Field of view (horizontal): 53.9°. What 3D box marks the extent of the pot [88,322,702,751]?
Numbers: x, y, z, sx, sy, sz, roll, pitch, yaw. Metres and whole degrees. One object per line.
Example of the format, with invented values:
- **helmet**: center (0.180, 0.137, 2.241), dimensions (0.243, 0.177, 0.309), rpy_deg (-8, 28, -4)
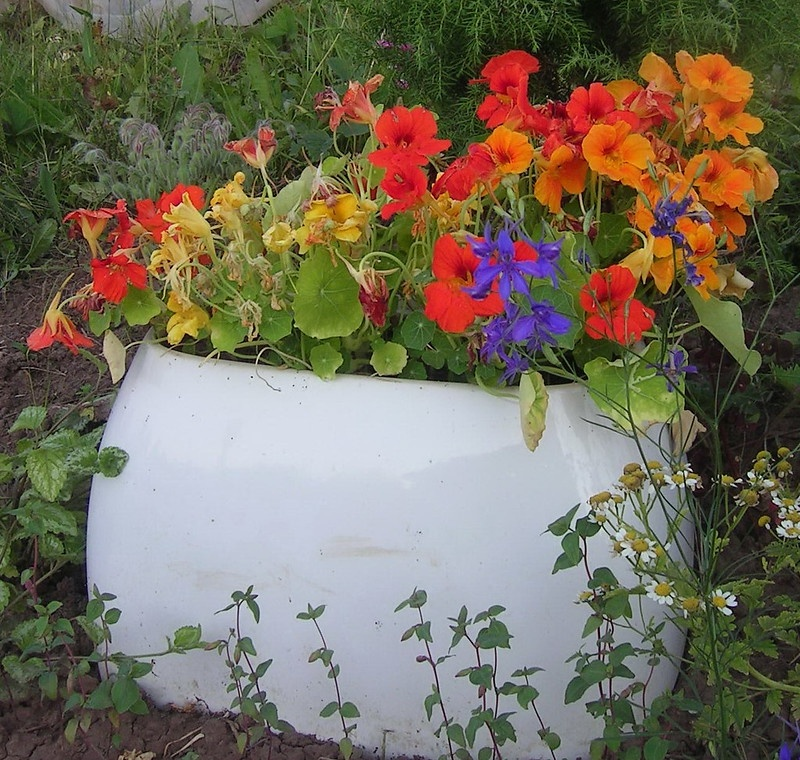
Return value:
- **pot**: center (0.035, 0.213, 1.629), dimensions (0.969, 0.602, 0.736), rpy_deg (3, 100, 13)
